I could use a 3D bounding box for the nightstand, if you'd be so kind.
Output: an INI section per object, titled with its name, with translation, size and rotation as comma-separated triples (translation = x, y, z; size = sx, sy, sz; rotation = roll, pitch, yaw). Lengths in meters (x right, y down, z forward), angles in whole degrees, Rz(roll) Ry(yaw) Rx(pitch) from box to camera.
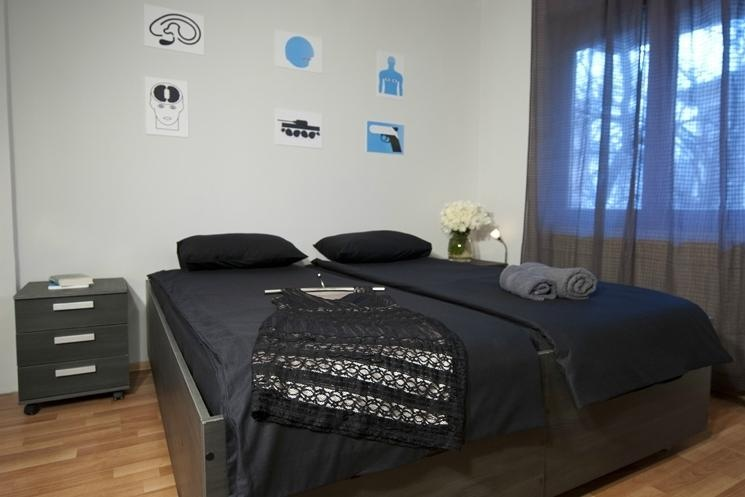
[nightstand]
translation = -1.883, 0.609, 3.771
size = 0.796, 0.979, 0.763
rotation = -2, 2, -21

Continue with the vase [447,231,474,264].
[vase]
translation = 0.794, -0.009, 4.869
size = 0.243, 0.415, 0.269
rotation = 1, 0, -20

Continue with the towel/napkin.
[towel/napkin]
translation = 1.034, 0.200, 3.062
size = 0.297, 0.135, 0.305
rotation = -1, 3, -25

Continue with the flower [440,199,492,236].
[flower]
translation = 0.806, -0.284, 4.670
size = 0.328, 0.235, 0.318
rotation = 4, 10, 39
